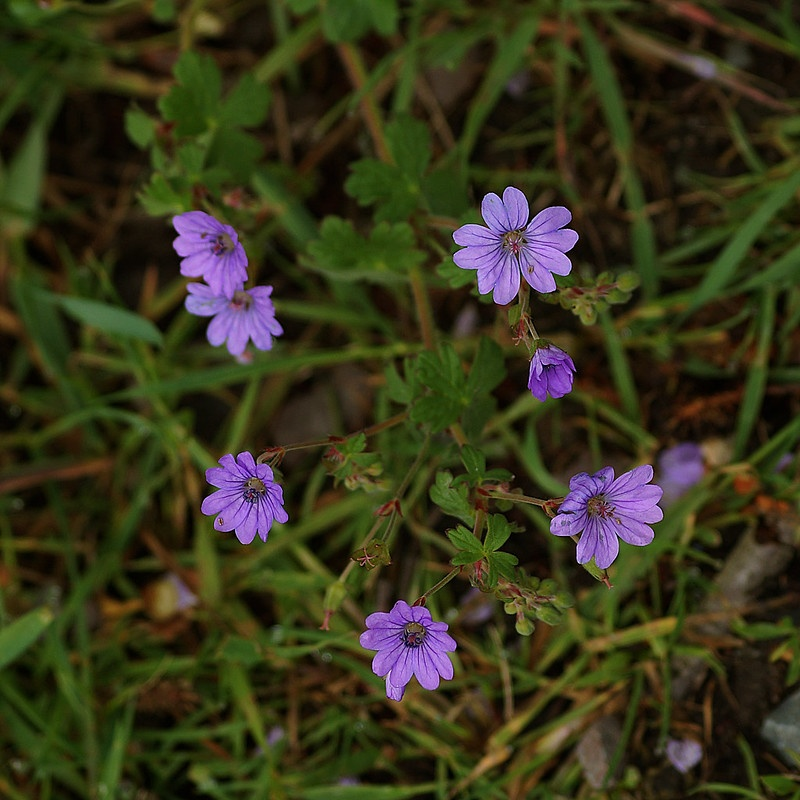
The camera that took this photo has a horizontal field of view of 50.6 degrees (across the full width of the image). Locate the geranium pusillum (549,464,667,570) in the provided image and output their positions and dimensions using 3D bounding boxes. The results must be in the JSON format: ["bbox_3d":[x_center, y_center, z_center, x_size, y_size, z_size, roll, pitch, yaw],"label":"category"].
[{"bbox_3d":[0.397,0.216,1.669,0.210,0.223,0.109,4,26,-25],"label":"geranium pusillum"}]

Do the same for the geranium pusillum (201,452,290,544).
[{"bbox_3d":[-0.310,0.226,1.729,0.178,0.196,0.108,10,17,16],"label":"geranium pusillum"}]

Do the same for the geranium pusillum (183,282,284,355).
[{"bbox_3d":[-0.348,-0.192,1.812,0.166,0.183,0.116,33,31,14],"label":"geranium pusillum"}]

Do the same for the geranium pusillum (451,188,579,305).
[{"bbox_3d":[0.240,-0.303,1.692,0.230,0.238,0.081,20,23,6],"label":"geranium pusillum"}]

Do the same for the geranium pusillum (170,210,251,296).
[{"bbox_3d":[-0.398,-0.317,1.803,0.162,0.180,0.089,8,20,17],"label":"geranium pusillum"}]

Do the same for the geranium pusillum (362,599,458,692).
[{"bbox_3d":[0.027,0.493,1.711,0.185,0.204,0.112,-20,12,13],"label":"geranium pusillum"}]
